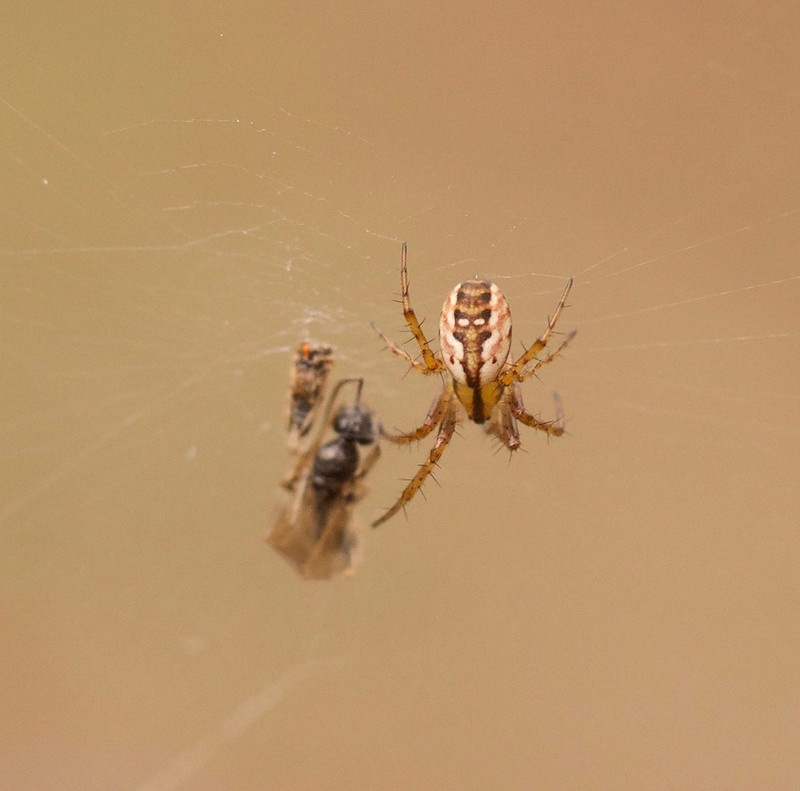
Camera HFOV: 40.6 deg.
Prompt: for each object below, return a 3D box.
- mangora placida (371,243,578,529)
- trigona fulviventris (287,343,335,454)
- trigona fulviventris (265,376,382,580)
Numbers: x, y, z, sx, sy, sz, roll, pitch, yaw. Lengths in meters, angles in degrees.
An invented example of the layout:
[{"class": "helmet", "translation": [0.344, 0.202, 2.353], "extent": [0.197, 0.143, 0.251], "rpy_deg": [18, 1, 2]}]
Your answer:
[{"class": "mangora placida", "translation": [0.560, -0.126, 8.366], "extent": [1.441, 1.497, 1.462], "rpy_deg": [10, 63, 1]}, {"class": "trigona fulviventris", "translation": [-0.732, 0.025, 8.797], "extent": [0.338, 0.862, 0.309], "rpy_deg": [20, 28, 39]}, {"class": "trigona fulviventris", "translation": [-0.529, 0.701, 8.871], "extent": [0.885, 1.656, 0.909], "rpy_deg": [8, 29, -3]}]
